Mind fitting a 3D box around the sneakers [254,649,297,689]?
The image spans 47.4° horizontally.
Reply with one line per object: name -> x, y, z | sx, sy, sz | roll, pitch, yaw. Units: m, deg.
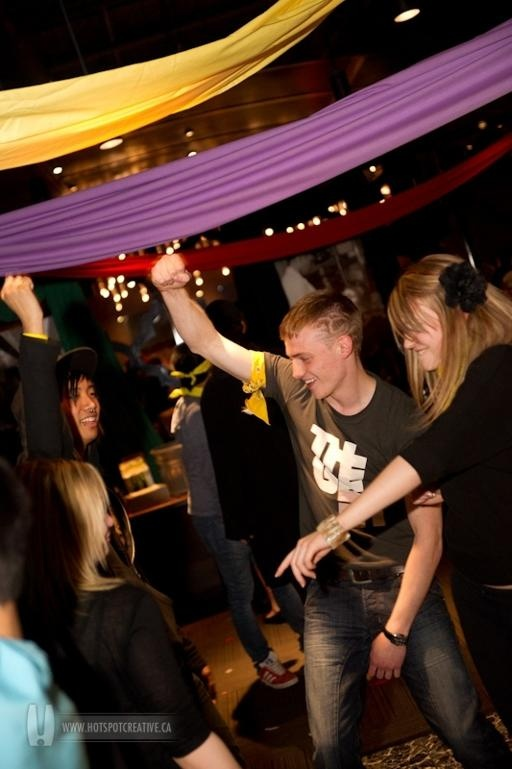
sneakers -> 0.091, 1.345, 2.751 | 0.098, 0.113, 0.253 | -8, -14, -27

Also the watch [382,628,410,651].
watch -> 0.370, 0.672, 1.537 | 0.049, 0.026, 0.051 | 12, 13, -30

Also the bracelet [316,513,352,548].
bracelet -> 0.176, 0.337, 1.369 | 0.061, 0.073, 0.080 | -40, -6, 1
